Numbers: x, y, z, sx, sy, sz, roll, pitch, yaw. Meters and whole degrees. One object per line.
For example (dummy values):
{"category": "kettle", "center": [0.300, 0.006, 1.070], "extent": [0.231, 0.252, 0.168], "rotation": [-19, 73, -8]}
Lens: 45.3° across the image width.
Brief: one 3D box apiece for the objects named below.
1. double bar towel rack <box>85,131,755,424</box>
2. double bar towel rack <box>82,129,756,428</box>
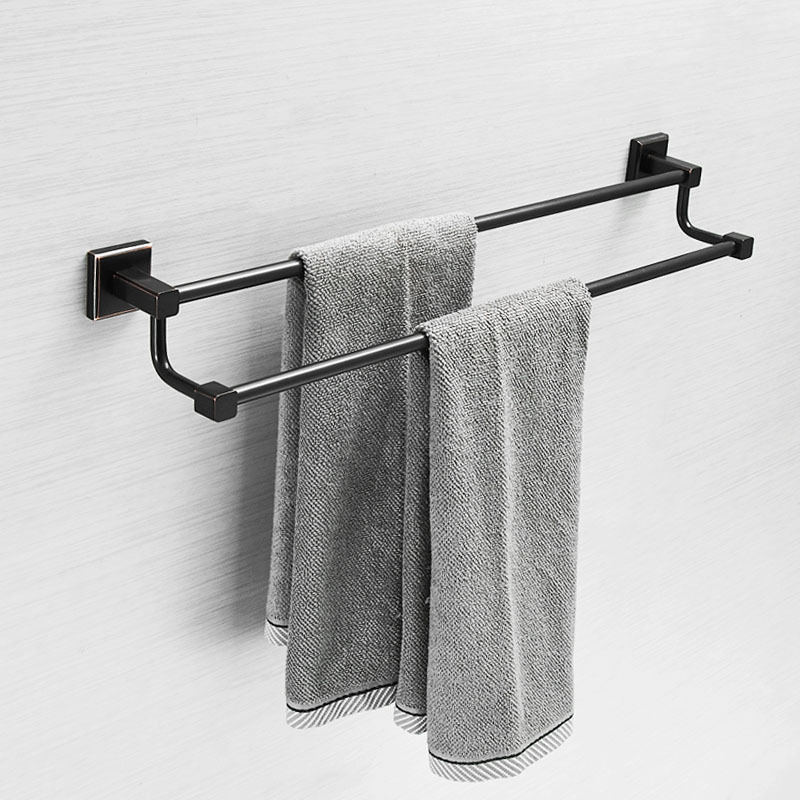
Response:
{"category": "double bar towel rack", "center": [0.010, -0.113, 0.817], "extent": [0.537, 0.097, 0.060], "rotation": [-12, -46, -32]}
{"category": "double bar towel rack", "center": [0.009, -0.112, 0.817], "extent": [0.548, 0.097, 0.061], "rotation": [-12, -46, -32]}
